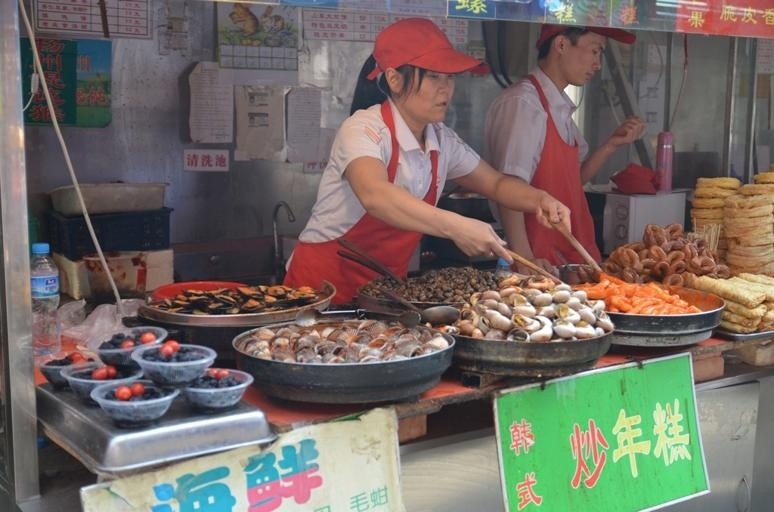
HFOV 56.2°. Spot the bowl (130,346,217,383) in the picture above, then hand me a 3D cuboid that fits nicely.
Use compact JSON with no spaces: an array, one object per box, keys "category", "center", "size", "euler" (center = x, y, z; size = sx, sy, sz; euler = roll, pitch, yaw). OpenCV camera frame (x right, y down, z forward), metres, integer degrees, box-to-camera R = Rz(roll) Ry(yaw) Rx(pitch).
[{"category":"bowl","center":[-0.791,0.396,2.702],"size":[0.289,0.143,0.178],"euler":[-7,10,-20]}]

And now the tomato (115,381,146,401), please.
[{"category":"tomato","center":[-0.918,0.483,2.591],"size":[0.095,0.049,0.055],"euler":[-10,-17,31]}]

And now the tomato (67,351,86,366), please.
[{"category":"tomato","center":[-1.218,0.399,2.846],"size":[0.043,0.028,0.067],"euler":[-1,18,-12]}]

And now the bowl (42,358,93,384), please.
[{"category":"bowl","center":[-1.282,0.449,2.831],"size":[0.135,0.051,0.135],"euler":[3,1,0]}]

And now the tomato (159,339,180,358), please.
[{"category":"tomato","center":[-0.815,0.347,2.684],"size":[0.042,0.038,0.071],"euler":[1,4,-5]}]

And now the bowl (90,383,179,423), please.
[{"category":"bowl","center":[-0.914,0.522,2.643],"size":[0.298,0.135,0.225],"euler":[-7,10,-17]}]

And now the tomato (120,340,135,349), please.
[{"category":"tomato","center":[-1.006,0.341,2.805],"size":[0.031,0.030,0.033],"euler":[3,27,38]}]

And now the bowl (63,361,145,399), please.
[{"category":"bowl","center":[-1.100,0.427,2.780],"size":[0.282,0.132,0.301],"euler":[2,5,0]}]

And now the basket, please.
[{"category":"basket","center":[-1.646,-0.146,4.386],"size":[0.525,0.177,0.398],"euler":[-3,5,-31]}]

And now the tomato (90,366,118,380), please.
[{"category":"tomato","center":[-1.068,0.439,2.728],"size":[0.085,0.045,0.076],"euler":[-3,9,4]}]
